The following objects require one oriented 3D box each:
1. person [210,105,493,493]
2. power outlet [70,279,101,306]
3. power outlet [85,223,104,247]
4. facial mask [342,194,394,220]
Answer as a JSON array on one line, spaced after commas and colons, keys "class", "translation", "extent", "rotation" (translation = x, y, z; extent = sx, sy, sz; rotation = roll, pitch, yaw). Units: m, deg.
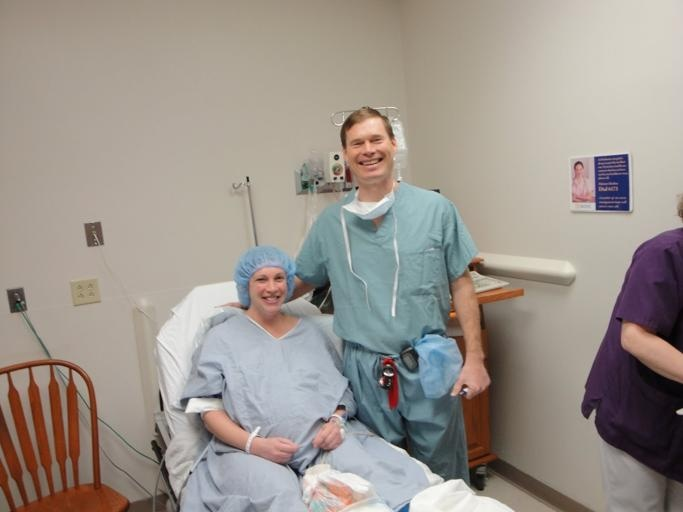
[{"class": "person", "translation": [0.142, 0.425, 2.114], "extent": [0.811, 1.989, 0.450], "rotation": [-2, 27, 10]}, {"class": "power outlet", "translation": [-1.242, 0.173, 2.416], "extent": [0.103, 0.121, 0.015], "rotation": [-5, 6, -30]}, {"class": "power outlet", "translation": [-1.196, -0.104, 2.420], "extent": [0.092, 0.147, 0.015], "rotation": [-4, 2, -30]}, {"class": "facial mask", "translation": [0.101, -0.182, 1.884], "extent": [0.193, 0.096, 0.094], "rotation": [-1, 14, 23]}]
